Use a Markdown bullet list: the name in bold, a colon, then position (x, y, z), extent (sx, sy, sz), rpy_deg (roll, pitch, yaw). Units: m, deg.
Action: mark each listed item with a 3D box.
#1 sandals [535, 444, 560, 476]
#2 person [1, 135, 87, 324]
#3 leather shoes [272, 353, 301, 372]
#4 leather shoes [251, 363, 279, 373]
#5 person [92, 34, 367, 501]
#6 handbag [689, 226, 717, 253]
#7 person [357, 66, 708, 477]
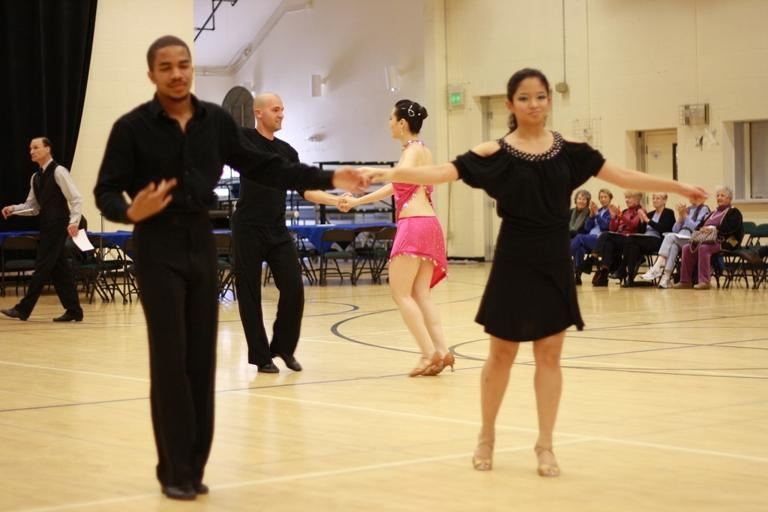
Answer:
- **sandals**: position (0.845, 1.061, 3.576), extent (0.104, 0.075, 0.329), rpy_deg (2, 9, 3)
- **person**: position (-4.295, -0.300, 8.698), extent (1.232, 2.362, 0.634), rpy_deg (4, 6, 31)
- **leather shoes**: position (-0.802, 0.912, 5.867), extent (0.297, 0.136, 0.102), rpy_deg (6, 4, 31)
- **leather shoes**: position (-0.971, 0.950, 5.818), extent (0.155, 0.064, 0.085), rpy_deg (-6, -6, 41)
- **person**: position (-0.885, 0.047, 3.356), extent (0.967, 2.185, 0.375), rpy_deg (-2, 6, -25)
- **handbag**: position (5.315, -0.250, 11.376), extent (0.391, 0.160, 0.345), rpy_deg (-16, 33, 35)
- **person**: position (0.763, 0.067, 3.611), extent (1.278, 2.047, 0.465), rpy_deg (2, 5, 12)
